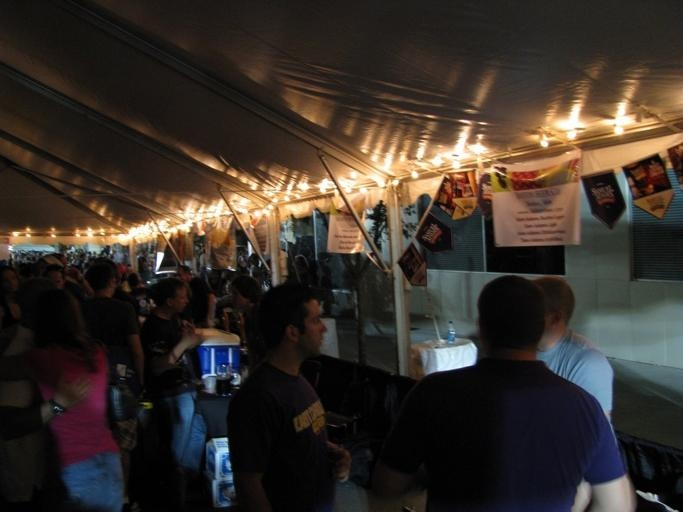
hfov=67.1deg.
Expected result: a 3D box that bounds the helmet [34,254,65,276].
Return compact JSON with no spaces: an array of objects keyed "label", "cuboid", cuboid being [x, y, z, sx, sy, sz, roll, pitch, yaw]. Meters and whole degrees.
[{"label":"helmet","cuboid":[-3.999,0.139,7.066,0.284,0.274,0.213,-21,15,-34]}]

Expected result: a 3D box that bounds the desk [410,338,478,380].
[{"label":"desk","cuboid":[1.168,1.108,5.815,0.604,0.339,0.578,-8,3,39]}]

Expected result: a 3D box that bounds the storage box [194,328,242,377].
[{"label":"storage box","cuboid":[-1.232,0.961,5.112,0.384,0.487,0.702,1,0,-21]}]

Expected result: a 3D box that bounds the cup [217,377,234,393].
[{"label":"cup","cuboid":[-1.096,1.224,4.864,0.135,0.149,0.137,0,-14,0]}]
